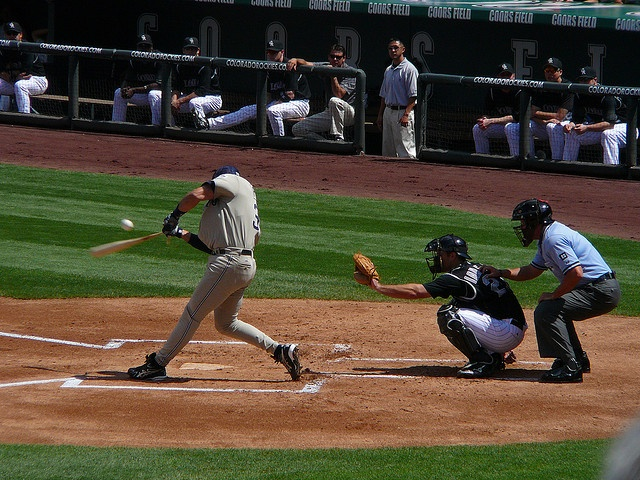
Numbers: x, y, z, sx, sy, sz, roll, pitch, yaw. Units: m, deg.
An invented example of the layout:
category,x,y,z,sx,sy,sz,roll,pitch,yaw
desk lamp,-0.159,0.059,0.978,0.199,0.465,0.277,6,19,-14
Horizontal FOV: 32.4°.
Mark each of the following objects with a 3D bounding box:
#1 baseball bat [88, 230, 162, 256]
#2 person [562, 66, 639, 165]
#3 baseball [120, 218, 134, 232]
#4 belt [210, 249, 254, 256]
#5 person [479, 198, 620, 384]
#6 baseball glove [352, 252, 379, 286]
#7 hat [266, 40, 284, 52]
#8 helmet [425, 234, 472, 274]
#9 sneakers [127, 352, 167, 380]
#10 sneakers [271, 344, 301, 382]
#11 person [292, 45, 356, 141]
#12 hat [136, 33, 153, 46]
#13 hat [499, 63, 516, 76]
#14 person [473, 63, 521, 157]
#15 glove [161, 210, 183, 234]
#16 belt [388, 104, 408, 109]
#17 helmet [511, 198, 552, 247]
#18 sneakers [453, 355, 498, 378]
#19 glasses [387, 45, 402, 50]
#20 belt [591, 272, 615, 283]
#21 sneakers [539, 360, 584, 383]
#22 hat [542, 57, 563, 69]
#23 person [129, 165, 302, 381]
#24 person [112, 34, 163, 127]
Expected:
category,x,y,z,sx,sy,sz,roll,pitch,yaw
baseball bat,-2.364,0.033,13.148,0.849,0.034,0.184,-14,-26,-18
person,4.295,-1.749,17.338,0.987,1.095,0.596,4,4,24
baseball,-1.890,-0.143,10.563,0.153,0.084,0.172,18,1,2
belt,-0.828,0.104,10.276,0.366,0.074,0.159,1,4,-8
person,2.310,0.490,10.469,1.028,1.727,0.427,3,4,10
baseball glove,0.434,0.280,10.515,0.225,0.296,0.271,2,4,2
hat,-0.799,-3.375,19.171,0.266,0.226,0.329,2,4,1
helmet,1.249,0.119,10.789,0.575,0.369,0.413,6,6,7
sneakers,-1.570,1.219,10.431,0.514,0.248,0.157,3,5,-4
sneakers,-0.294,1.134,10.540,0.266,0.408,0.167,-16,33,9
person,0.048,-2.495,18.786,1.194,1.608,0.697,3,4,8
hat,-3.280,-3.700,20.306,0.327,0.171,0.367,-2,-1,-7
hat,3.029,-2.802,18.006,0.228,0.183,0.232,2,4,-1
person,2.956,-1.936,18.072,0.550,1.084,1.029,1,4,-16
glove,-1.397,-0.166,10.314,0.164,0.260,0.332,2,4,-9
belt,1.286,-2.219,18.391,0.079,0.074,0.320,-2,5,-45
helmet,2.167,-0.179,10.703,0.617,0.458,0.436,3,-1,12
sneakers,1.541,1.222,10.644,0.545,0.174,0.157,-1,9,-18
glasses,1.218,-3.155,18.042,0.272,0.061,0.240,1,15,18
belt,2.711,0.337,10.534,0.165,0.036,0.140,-14,0,-5
sneakers,2.312,1.258,10.449,0.482,0.157,0.184,1,2,4
hat,3.729,-2.817,17.533,0.287,0.113,0.192,14,1,-38
person,-0.952,0.320,10.357,1.569,2.021,0.409,2,4,-8
person,-3.329,-2.685,20.066,0.622,1.136,1.097,0,4,-31
